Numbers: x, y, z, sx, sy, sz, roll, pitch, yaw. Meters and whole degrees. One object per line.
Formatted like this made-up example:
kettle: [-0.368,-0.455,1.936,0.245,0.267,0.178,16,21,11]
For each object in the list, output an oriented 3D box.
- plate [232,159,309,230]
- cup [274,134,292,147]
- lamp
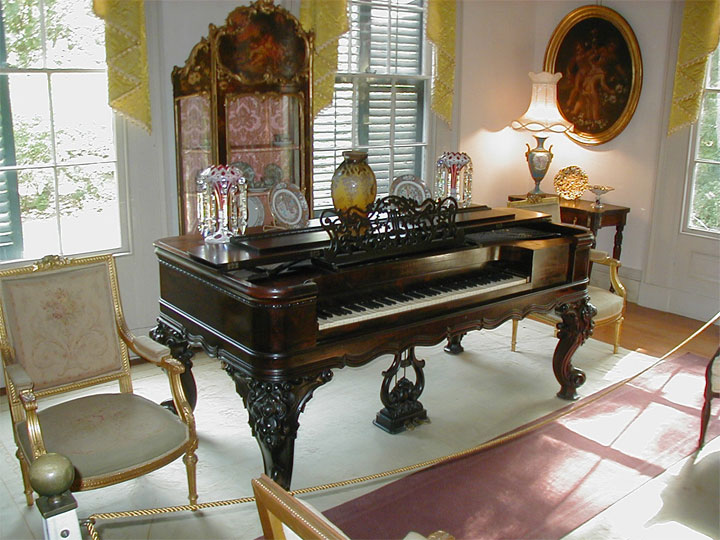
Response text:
plate: [-0.510,-0.407,3.704,0.248,0.485,0.760,-12,-8,33]
cup: [-0.620,-1.041,4.385,0.116,0.066,0.116,1,18,0]
lamp: [1.967,-1.485,5.881,0.649,1.305,0.783,3,17,14]
